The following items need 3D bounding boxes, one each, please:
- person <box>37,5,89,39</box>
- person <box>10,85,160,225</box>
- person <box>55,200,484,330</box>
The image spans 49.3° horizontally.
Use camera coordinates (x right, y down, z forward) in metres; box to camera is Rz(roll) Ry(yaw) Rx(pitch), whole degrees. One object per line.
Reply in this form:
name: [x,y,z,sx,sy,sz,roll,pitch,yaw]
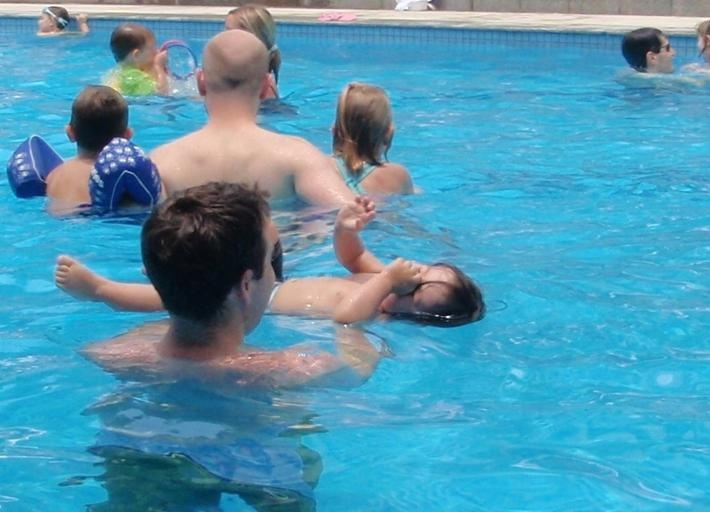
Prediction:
person: [-4.418,-3.568,11.891,0.652,0.238,0.814,21,20,32]
person: [-1.707,-0.688,4.887,1.210,0.597,1.043,1,-1,-18]
person: [-0.418,0.133,3.799,2.075,0.515,0.651,-1,20,-6]
